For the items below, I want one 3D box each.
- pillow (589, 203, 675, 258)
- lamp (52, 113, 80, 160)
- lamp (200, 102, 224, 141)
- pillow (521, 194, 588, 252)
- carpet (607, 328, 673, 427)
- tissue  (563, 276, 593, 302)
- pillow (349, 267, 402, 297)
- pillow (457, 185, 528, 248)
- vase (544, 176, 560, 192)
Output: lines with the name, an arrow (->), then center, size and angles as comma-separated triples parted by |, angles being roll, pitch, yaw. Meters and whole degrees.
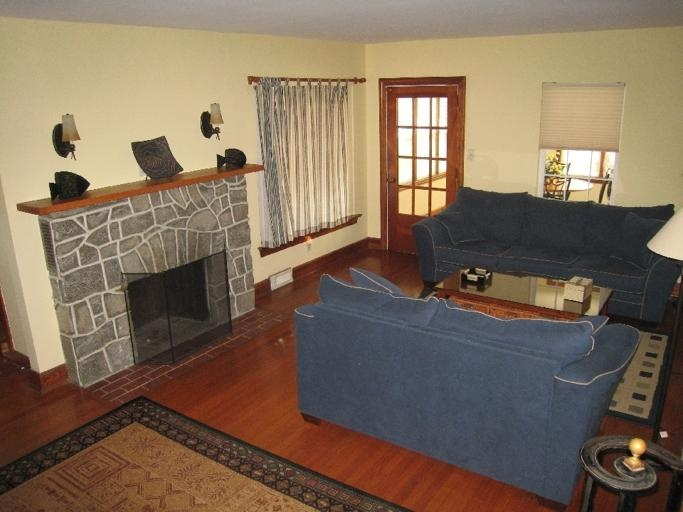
pillow -> 3.000, -0.290, 5.649 | 0.196, 0.596, 0.654 | 12, -5, -41
lamp -> -2.224, -0.971, 4.280 | 0.221, 0.366, 0.187 | -16, 25, -35
lamp -> -1.266, -1.382, 5.362 | 0.188, 0.363, 0.313 | 8, 21, 23
pillow -> 2.443, -0.350, 6.036 | 0.575, 0.454, 0.271 | 10, 29, 28
carpet -> 2.278, 0.978, 4.014 | 0.321, 0.033, 0.877 | 11, 28, 33
tissue  -> 2.207, 0.328, 4.906 | 0.206, 0.165, 0.283 | 10, 21, 37
pillow -> 0.262, 0.205, 3.912 | 0.264, 0.083, 0.239 | 23, -4, 24
pillow -> 1.830, -0.441, 6.348 | 0.730, 0.543, 0.273 | 10, 28, 28
vase -> 2.953, -1.018, 7.338 | 0.246, 0.248, 0.239 | 4, 10, 29
